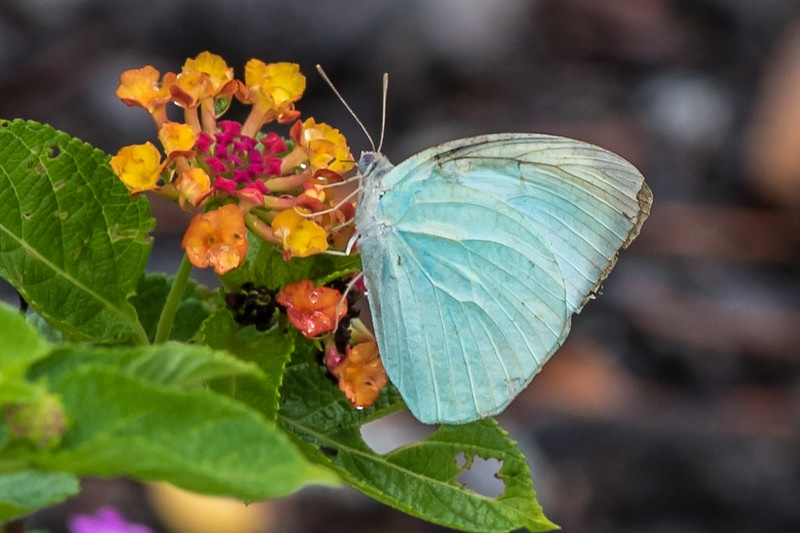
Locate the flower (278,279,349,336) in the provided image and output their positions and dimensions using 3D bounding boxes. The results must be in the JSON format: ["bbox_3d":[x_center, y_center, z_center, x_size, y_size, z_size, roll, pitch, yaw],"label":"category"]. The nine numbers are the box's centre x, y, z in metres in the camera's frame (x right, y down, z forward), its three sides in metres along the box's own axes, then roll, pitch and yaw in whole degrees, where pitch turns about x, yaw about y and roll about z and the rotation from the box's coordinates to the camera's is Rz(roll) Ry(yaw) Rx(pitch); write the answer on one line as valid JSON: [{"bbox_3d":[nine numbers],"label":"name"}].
[{"bbox_3d":[-0.277,0.133,3.141,0.179,0.077,0.183,11,58,-21],"label":"flower"}]

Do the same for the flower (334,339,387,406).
[{"bbox_3d":[-0.134,0.342,3.197,0.183,0.200,0.080,-24,8,-29],"label":"flower"}]
